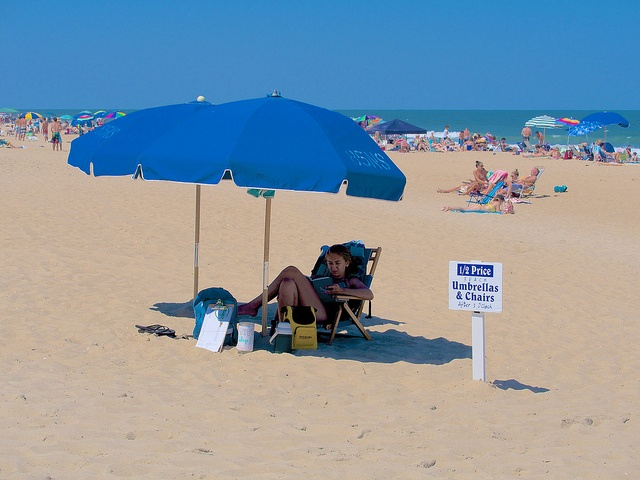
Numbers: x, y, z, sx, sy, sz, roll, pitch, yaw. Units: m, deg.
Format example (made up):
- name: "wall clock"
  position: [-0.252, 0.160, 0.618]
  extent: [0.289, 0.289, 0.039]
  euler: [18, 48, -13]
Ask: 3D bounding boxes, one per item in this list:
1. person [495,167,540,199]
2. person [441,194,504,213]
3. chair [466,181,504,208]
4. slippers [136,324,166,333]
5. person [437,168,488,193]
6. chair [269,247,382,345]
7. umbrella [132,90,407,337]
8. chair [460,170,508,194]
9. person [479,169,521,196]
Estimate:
- name: "person"
  position: [4.921, -1.412, 22.425]
  extent: [1.487, 0.641, 0.515]
  euler: [-8, 15, -37]
- name: "person"
  position: [3.470, -0.828, 20.194]
  extent: [1.472, 0.403, 0.810]
  euler: [3, 5, -3]
- name: "chair"
  position: [3.925, -1.062, 21.131]
  extent: [1.059, 0.393, 0.510]
  euler: [-18, 16, -7]
- name: "slippers"
  position: [-2.081, 1.082, 11.112]
  extent: [0.266, 0.051, 0.133]
  euler: [1, 3, 28]
- name: "person"
  position: [3.477, -1.328, 22.051]
  extent: [1.265, 0.522, 0.492]
  euler: [-8, 20, 21]
- name: "chair"
  position: [0.070, 0.744, 11.450]
  extent: [1.428, 1.340, 1.248]
  euler: [0, 7, -19]
- name: "umbrella"
  position: [-0.680, -0.461, 11.344]
  extent: [3.297, 2.480, 3.256]
  euler: [-4, 12, -45]
- name: "chair"
  position: [4.094, -1.404, 21.685]
  extent: [1.371, 0.466, 0.455]
  euler: [-6, 15, -23]
- name: "person"
  position: [4.348, -1.484, 21.781]
  extent: [0.989, 0.368, 0.689]
  euler: [-23, 16, -23]
